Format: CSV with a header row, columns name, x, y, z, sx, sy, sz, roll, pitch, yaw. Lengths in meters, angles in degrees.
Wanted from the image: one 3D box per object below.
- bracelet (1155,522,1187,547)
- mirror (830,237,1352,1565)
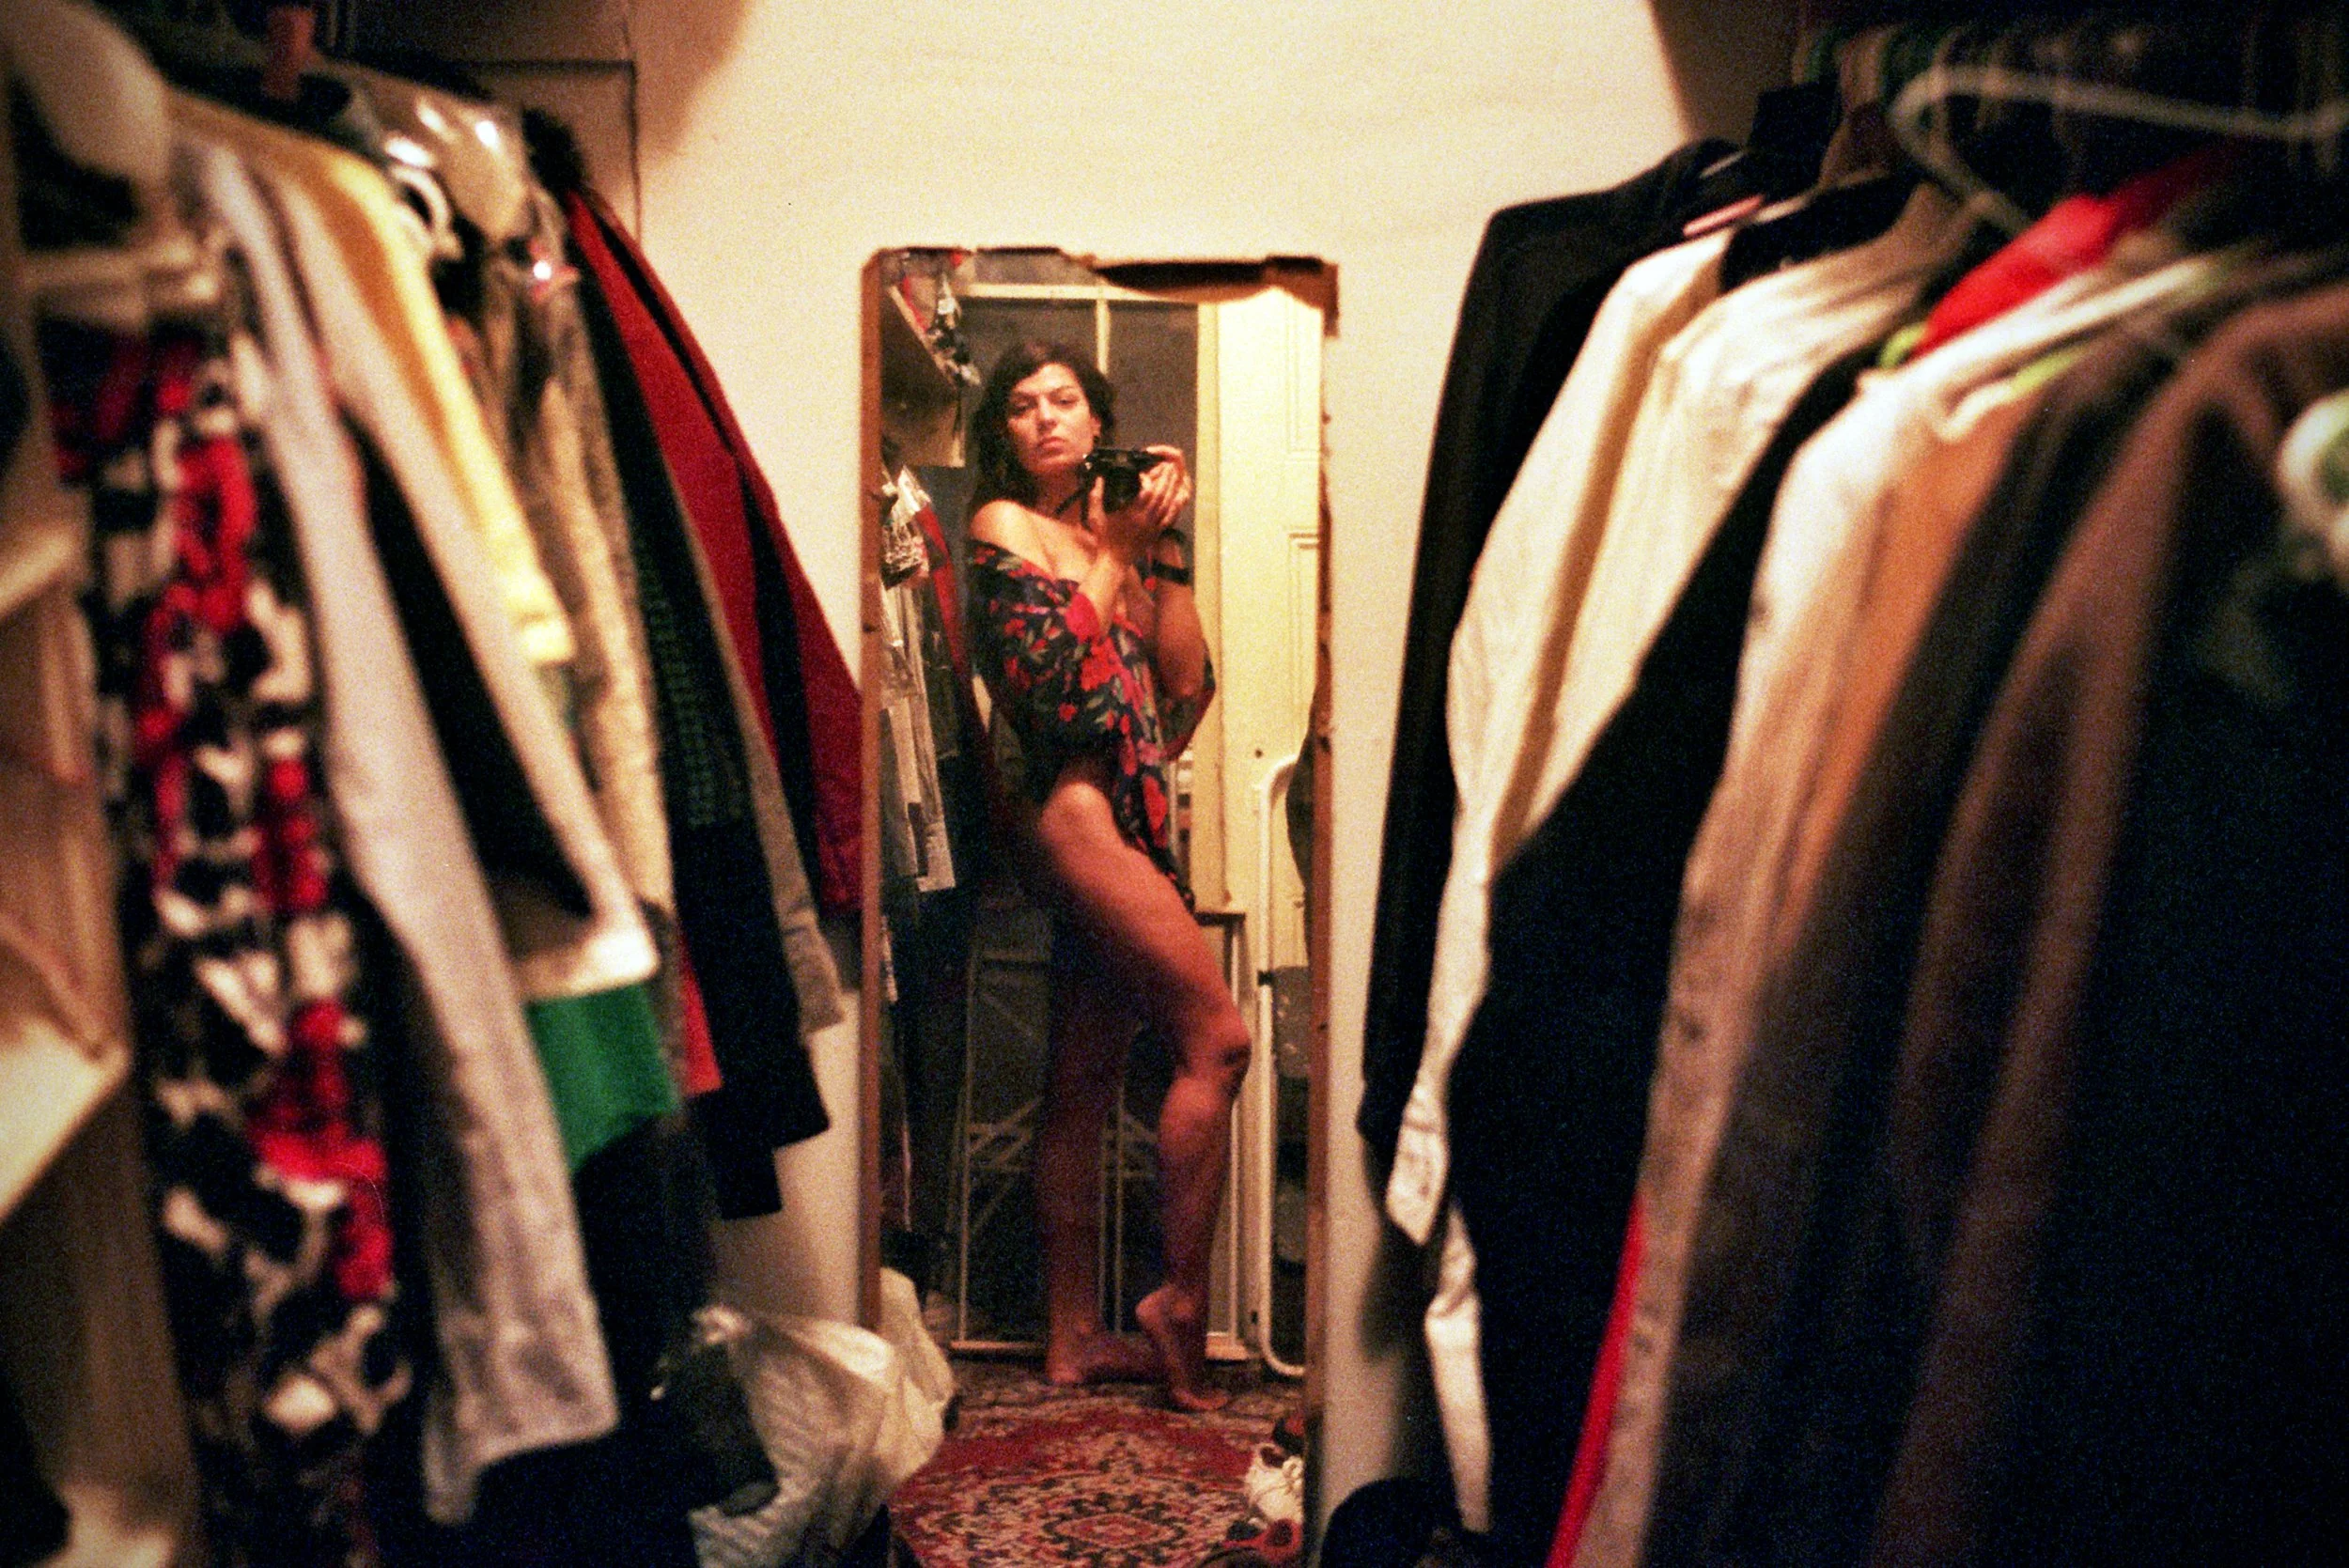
name,x,y,z,sx,sy,sz,roll,pitch,yaw
bracelet,-0.006,-0.222,1.903,0.015,0.013,0.019,5,13,37
mirror,-0.063,0.111,1.889,0.416,1.149,0.291,-1,11,-8
